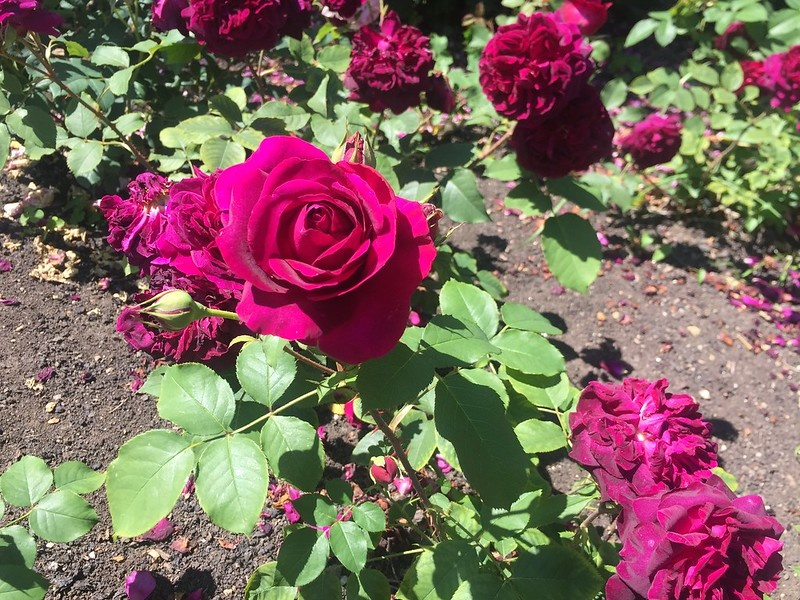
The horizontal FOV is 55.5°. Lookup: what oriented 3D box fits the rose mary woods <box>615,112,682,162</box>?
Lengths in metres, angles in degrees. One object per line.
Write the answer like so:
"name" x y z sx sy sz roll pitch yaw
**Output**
"rose mary woods" 1.592 -1.000 4.816 0.313 0.367 0.195 35 30 6
